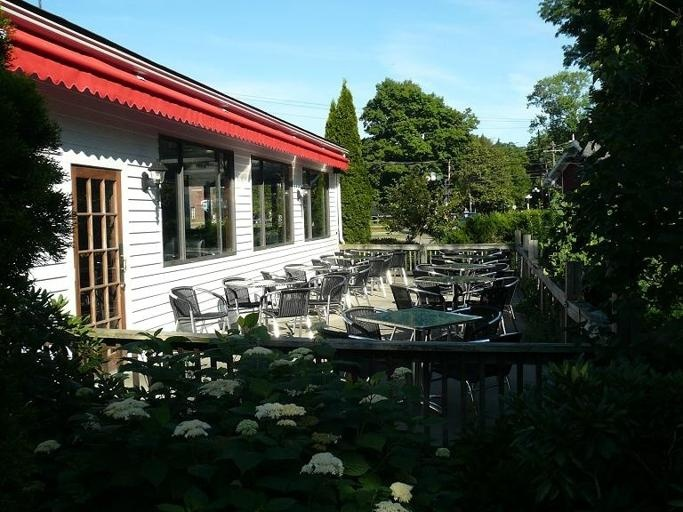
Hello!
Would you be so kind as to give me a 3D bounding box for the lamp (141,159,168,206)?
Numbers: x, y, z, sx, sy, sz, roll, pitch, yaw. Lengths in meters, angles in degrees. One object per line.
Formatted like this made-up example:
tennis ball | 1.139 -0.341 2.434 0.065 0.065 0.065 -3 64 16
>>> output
lamp | -2.385 -0.935 7.944 0.212 0.559 0.591 -3 -1 3
